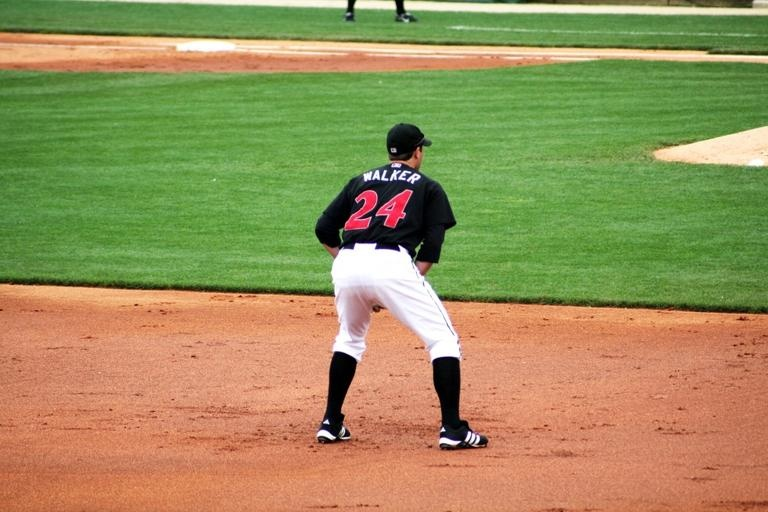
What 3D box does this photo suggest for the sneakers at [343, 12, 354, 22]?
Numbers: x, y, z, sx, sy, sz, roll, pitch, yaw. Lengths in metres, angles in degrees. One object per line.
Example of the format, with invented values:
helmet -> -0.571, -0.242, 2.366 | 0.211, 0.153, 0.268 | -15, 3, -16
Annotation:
sneakers -> -0.903, -6.356, 46.707 | 0.329, 0.193, 0.307 | 12, 48, -9

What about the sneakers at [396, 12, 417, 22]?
sneakers -> 0.581, -6.306, 46.749 | 0.612, 0.207, 0.238 | 2, 13, 8

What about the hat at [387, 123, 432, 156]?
hat -> 0.342, -1.941, 29.247 | 0.714, 0.338, 0.505 | -20, 25, -35
